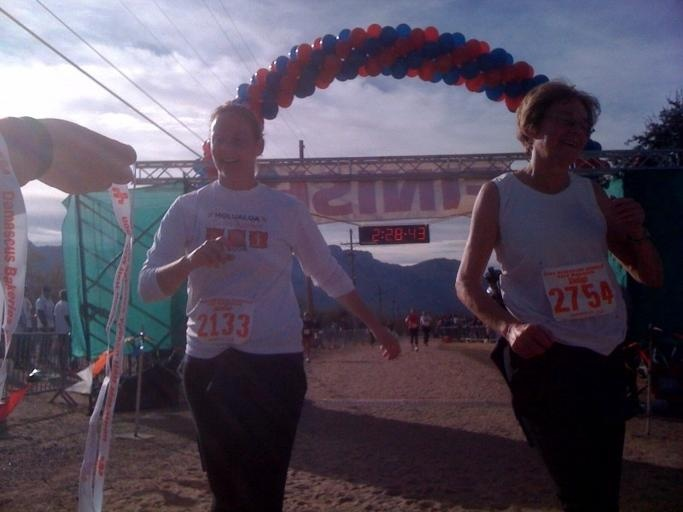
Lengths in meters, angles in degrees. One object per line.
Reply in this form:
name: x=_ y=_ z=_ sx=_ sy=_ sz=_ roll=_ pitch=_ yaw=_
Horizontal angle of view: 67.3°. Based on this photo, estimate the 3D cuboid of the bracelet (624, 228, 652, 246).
bracelet: x=1.544 y=-0.101 z=2.649 sx=0.080 sy=0.103 sz=0.031 roll=3 pitch=1 yaw=9

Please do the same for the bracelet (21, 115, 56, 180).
bracelet: x=-1.044 y=-0.377 z=1.764 sx=0.109 sy=0.213 sz=0.056 roll=0 pitch=-1 yaw=9
